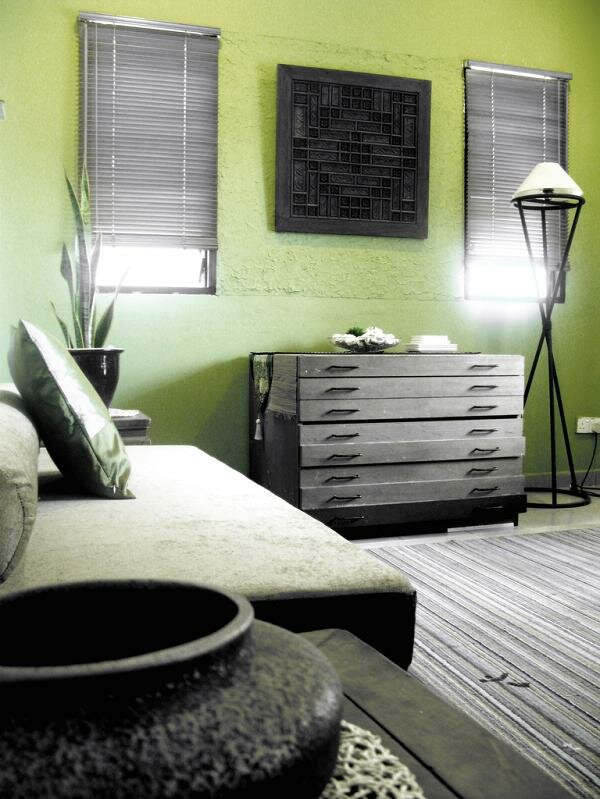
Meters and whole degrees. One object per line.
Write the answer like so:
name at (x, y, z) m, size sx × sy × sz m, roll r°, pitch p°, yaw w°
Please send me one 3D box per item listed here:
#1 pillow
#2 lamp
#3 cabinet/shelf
pillow at (-0.416, 0.029, 1.394) m, size 0.266 × 0.358 × 0.486 m, roll 5°, pitch 6°, yaw -21°
lamp at (1.306, -0.328, 3.611) m, size 0.395 × 1.741 × 0.986 m, roll 0°, pitch 2°, yaw 17°
cabinet/shelf at (0.394, 0.153, 3.186) m, size 1.081 × 0.784 × 0.640 m, roll -1°, pitch 4°, yaw -22°
